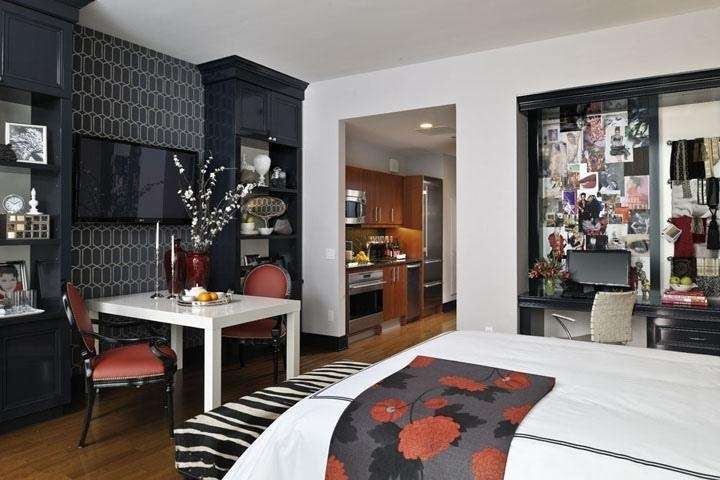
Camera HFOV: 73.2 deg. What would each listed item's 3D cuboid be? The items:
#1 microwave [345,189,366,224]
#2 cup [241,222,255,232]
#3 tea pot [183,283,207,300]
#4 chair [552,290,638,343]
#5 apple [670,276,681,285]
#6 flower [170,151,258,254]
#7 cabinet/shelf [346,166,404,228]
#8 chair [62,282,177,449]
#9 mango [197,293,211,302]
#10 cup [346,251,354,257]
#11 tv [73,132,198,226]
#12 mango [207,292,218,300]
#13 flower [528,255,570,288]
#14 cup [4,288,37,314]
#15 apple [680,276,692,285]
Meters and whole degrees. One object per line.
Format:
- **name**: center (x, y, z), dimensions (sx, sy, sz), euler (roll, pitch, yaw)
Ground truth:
- **microwave**: center (-0.086, -0.492, 7.180), dimensions (0.310, 0.478, 0.545), euler (-1, -2, 20)
- **cup**: center (-1.315, -0.152, 5.684), dimensions (0.107, 0.081, 0.101), euler (-1, 1, 0)
- **tea pot**: center (-1.519, 0.474, 4.446), dimensions (0.170, 0.120, 0.133), euler (-2, -1, 37)
- **chair**: center (2.343, 0.907, 4.796), dimensions (0.555, 0.756, 0.658), euler (3, -7, -21)
- **apple**: center (3.197, 0.406, 4.918), dimensions (0.077, 0.095, 0.077), euler (-16, 11, -36)
- **flower**: center (-1.792, -0.219, 5.418), dimensions (0.784, 0.981, 0.750), euler (1, 10, 37)
- **cabinet/shelf**: center (0.206, -0.676, 7.774), dimensions (0.387, 0.766, 1.075), euler (-2, -2, 36)
- **chair**: center (-1.984, 0.995, 4.057), dimensions (0.831, 1.265, 0.693), euler (-2, 9, -18)
- **mango**: center (-1.401, 0.507, 4.331), dimensions (0.079, 0.082, 0.082), euler (-2, -1, 22)
- **cup**: center (-0.160, 0.243, 7.284), dimensions (0.075, 0.140, 0.148), euler (-1, 0, 22)
- **tv**: center (-2.391, -0.627, 5.049), dimensions (0.075, 0.687, 1.042), euler (2, 3, 37)
- **mango**: center (-1.329, 0.506, 4.371), dimensions (0.063, 0.064, 0.064), euler (-4, 1, 12)
- **flower**: center (2.138, 0.354, 5.396), dimensions (0.356, 0.390, 0.351), euler (2, -6, -9)
- **cup**: center (-2.946, 0.526, 4.229), dimensions (0.205, 0.208, 0.199), euler (0, 2, 0)
- **apple**: center (3.288, 0.400, 4.897), dimensions (0.079, 0.086, 0.084), euler (-2, 4, -14)
